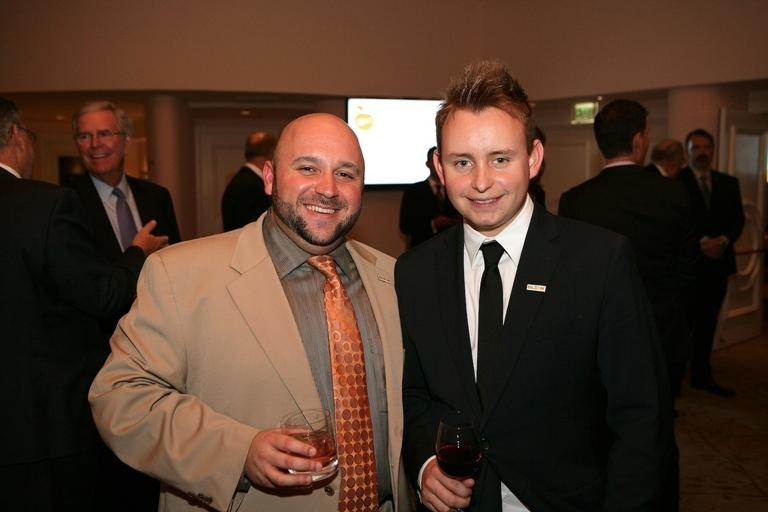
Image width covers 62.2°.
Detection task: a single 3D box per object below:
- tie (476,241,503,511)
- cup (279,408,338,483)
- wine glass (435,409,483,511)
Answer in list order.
[{"bbox_3d":[0.447,0.472,2.797,0.127,1.026,0.134,-3,-8,6],"label":"tie"},{"bbox_3d":[-0.285,0.746,2.602,0.263,0.310,0.271,-3,-10,0],"label":"cup"},{"bbox_3d":[0.326,0.886,2.718,0.189,0.419,0.187,-1,11,10],"label":"wine glass"}]
